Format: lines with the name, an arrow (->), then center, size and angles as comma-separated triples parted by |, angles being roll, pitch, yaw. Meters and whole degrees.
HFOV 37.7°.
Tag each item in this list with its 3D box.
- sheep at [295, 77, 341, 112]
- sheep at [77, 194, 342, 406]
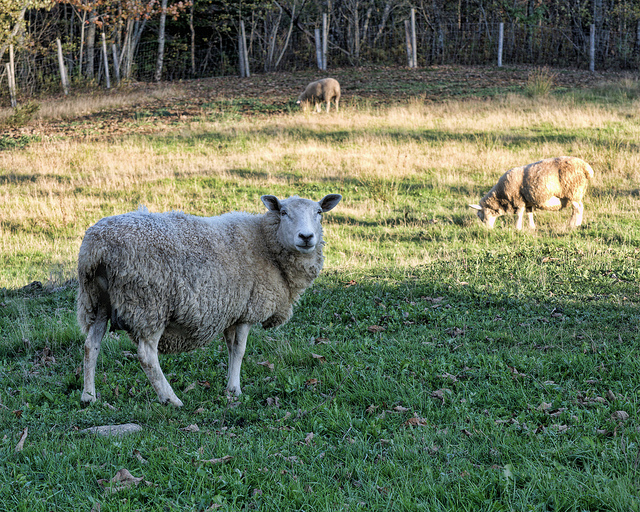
sheep -> -0.073, -5.127, 30.320 | 1.501, 1.225, 0.654 | -1, 5, 36
sheep -> -1.753, 0.845, 14.916 | 2.732, 2.630, 1.212 | 2, -9, -28
